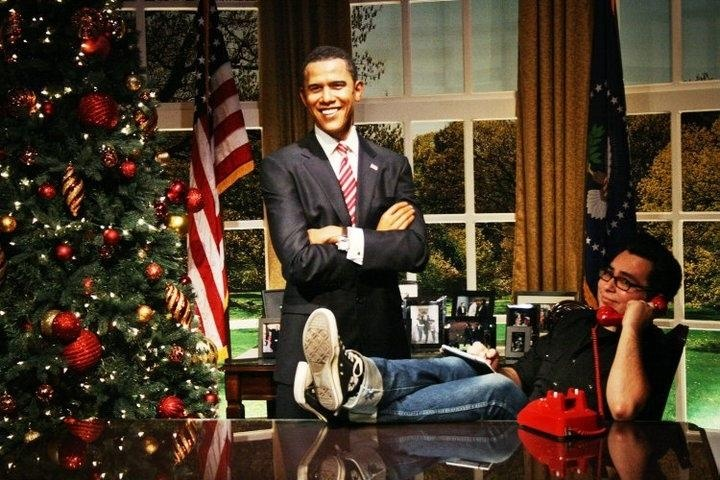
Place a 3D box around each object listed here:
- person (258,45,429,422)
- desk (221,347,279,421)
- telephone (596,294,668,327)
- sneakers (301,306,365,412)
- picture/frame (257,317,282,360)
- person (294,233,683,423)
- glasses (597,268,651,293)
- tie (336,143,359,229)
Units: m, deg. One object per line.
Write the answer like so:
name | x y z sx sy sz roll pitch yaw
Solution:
person | -0.061 0.268 3.526 0.684 2.247 0.567 -4 13 -14
desk | -0.646 0.939 4.206 0.246 0.185 0.259 16 -5 9
telephone | 1.176 0.331 3.167 0.503 0.122 0.171 -7 5 -45
sneakers | -0.143 0.488 2.977 0.162 0.497 0.223 -27 -26 32
picture/frame | -0.531 0.585 4.343 0.174 0.233 0.109 -2 -7 -2
person | 0.632 0.347 3.226 1.479 0.860 0.872 0 -11 9
glasses | 1.214 0.195 3.342 0.133 0.040 0.125 17 3 -40
tie | -0.052 -0.269 3.375 0.079 0.421 0.048 -3 -7 -7
